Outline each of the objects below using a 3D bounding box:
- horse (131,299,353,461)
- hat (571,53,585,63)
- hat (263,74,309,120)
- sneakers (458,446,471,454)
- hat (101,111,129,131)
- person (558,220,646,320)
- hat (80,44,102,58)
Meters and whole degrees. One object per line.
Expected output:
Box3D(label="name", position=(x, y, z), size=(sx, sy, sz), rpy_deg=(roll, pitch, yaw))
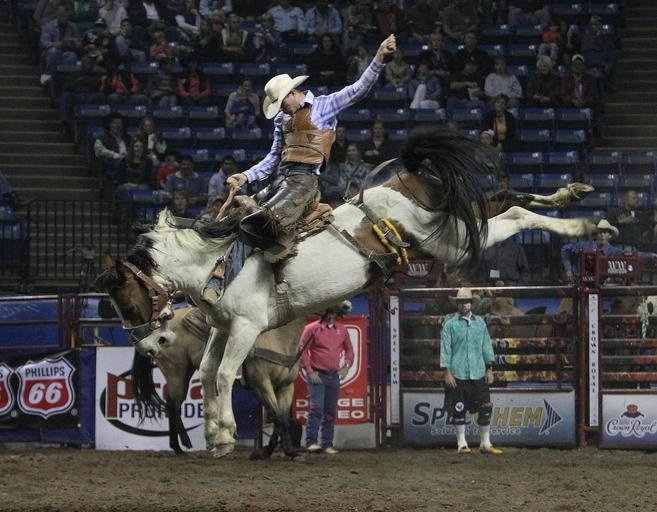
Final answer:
Box3D(label="horse", position=(-1.492, 2.067, 30.259), size=(4.636, 2.927, 1.217), rpy_deg=(-1, -5, 34))
Box3D(label="hat", position=(5.517, -4.450, 39.354), size=(0.378, 0.142, 0.493), rpy_deg=(-1, -5, 3))
Box3D(label="hat", position=(-0.787, -2.684, 28.405), size=(0.338, 0.774, 0.621), rpy_deg=(46, -9, -24))
Box3D(label="sneakers", position=(2.316, 3.398, 30.248), size=(0.133, 0.069, 0.169), rpy_deg=(-2, 3, -38))
Box3D(label="hat", position=(-4.447, -2.824, 36.967), size=(0.335, 0.349, 0.459), rpy_deg=(2, -15, -36))
Box3D(label="person", position=(4.795, 0.342, 31.454), size=(0.948, 1.606, 1.065), rpy_deg=(-27, 41, -23))
Box3D(label="hat", position=(-5.139, -4.517, 38.544), size=(0.381, 0.182, 0.274), rpy_deg=(5, -2, -41))
